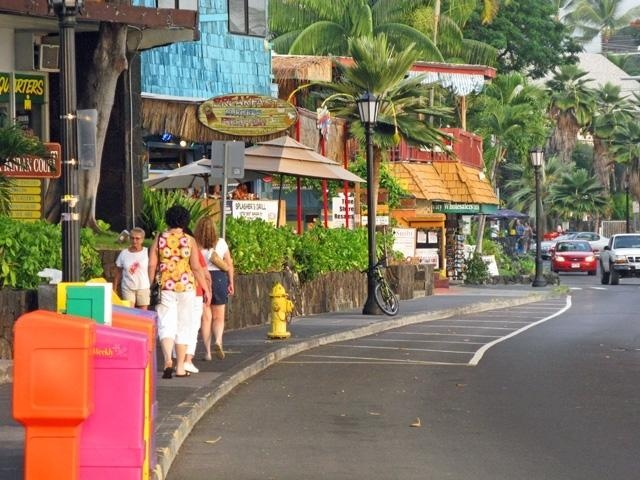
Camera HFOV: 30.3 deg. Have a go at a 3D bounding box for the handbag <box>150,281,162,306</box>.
[{"bbox_3d":[-2.312,0.782,17.090,0.078,0.356,0.268,5,-8,-18],"label":"handbag"}]

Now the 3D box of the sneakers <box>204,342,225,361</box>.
[{"bbox_3d":[-1.618,1.813,18.833,0.145,0.237,0.462,0,-2,1],"label":"sneakers"}]

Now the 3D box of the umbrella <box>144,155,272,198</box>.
[{"bbox_3d":[-3.513,-1.606,31.050,1.586,0.754,1.711,-2,-4,-32],"label":"umbrella"}]

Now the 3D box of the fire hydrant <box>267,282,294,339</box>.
[{"bbox_3d":[-0.676,1.311,21.516,0.441,1.017,0.524,0,-1,-2],"label":"fire hydrant"}]

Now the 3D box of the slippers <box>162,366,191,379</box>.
[{"bbox_3d":[-2.026,1.935,17.157,0.361,0.162,0.505,0,-1,14],"label":"slippers"}]

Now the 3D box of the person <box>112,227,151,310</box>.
[{"bbox_3d":[-2.970,0.712,19.445,0.608,1.850,0.538,-1,22,-12],"label":"person"}]

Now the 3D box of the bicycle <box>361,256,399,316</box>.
[{"bbox_3d":[1.555,1.126,27.391,0.679,0.881,1.349,-33,-5,11],"label":"bicycle"}]

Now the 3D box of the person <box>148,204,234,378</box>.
[{"bbox_3d":[-2.005,0.765,17.386,0.465,2.505,0.968,-1,-1,42],"label":"person"}]
